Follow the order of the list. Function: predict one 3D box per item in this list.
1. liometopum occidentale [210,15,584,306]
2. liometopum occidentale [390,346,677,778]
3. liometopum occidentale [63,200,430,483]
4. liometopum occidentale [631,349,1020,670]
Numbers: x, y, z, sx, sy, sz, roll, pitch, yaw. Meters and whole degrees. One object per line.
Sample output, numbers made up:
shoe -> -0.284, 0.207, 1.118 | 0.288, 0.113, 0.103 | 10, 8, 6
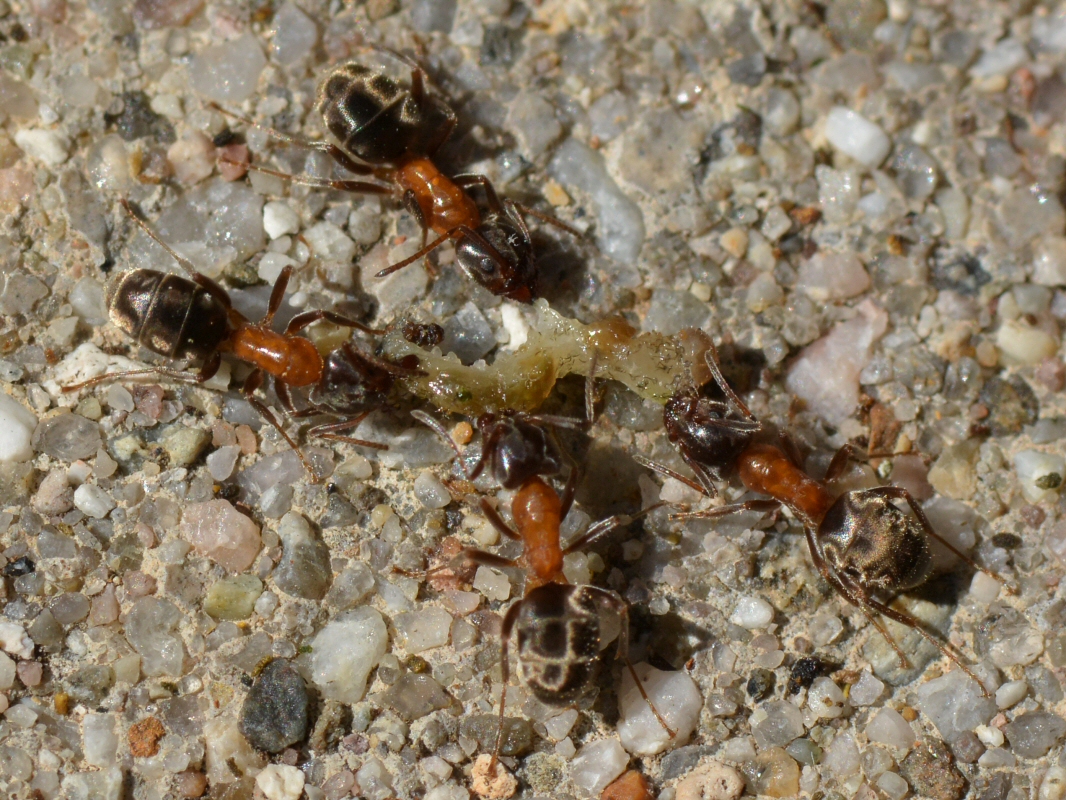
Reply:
liometopum occidentale -> -0.533, -1.040, 5.461 | 0.441, 0.974, 1.428 | -43, 91, -22
liometopum occidentale -> 0.059, 0.696, 5.069 | 0.820, 0.395, 1.430 | -12, 80, -5
liometopum occidentale -> -1.044, -0.176, 5.031 | 1.448, 0.420, 0.931 | 19, 90, -3
liometopum occidentale -> 1.188, 0.462, 5.194 | 1.532, 0.372, 0.675 | 33, 79, 4
